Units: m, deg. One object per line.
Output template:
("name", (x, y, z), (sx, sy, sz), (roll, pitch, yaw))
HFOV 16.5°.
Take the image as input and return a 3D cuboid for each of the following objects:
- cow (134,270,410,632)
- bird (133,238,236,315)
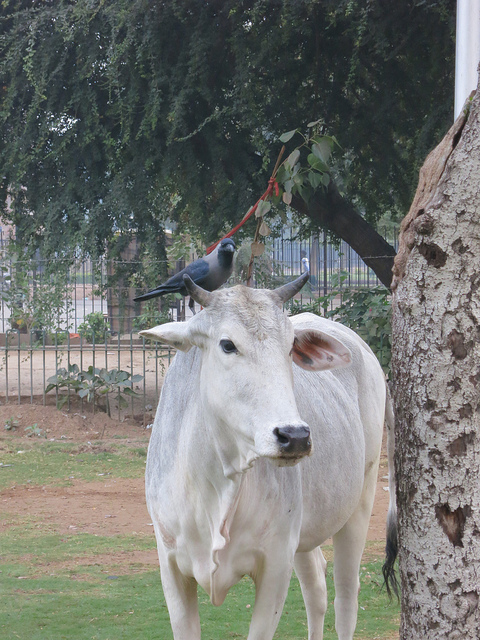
("cow", (0.285, 1.024, 12.194), (1.749, 2.981, 2.710), (2, 9, 7))
("bird", (-0.384, -0.323, 12.186), (0.753, 0.685, 0.329), (9, 10, 25))
